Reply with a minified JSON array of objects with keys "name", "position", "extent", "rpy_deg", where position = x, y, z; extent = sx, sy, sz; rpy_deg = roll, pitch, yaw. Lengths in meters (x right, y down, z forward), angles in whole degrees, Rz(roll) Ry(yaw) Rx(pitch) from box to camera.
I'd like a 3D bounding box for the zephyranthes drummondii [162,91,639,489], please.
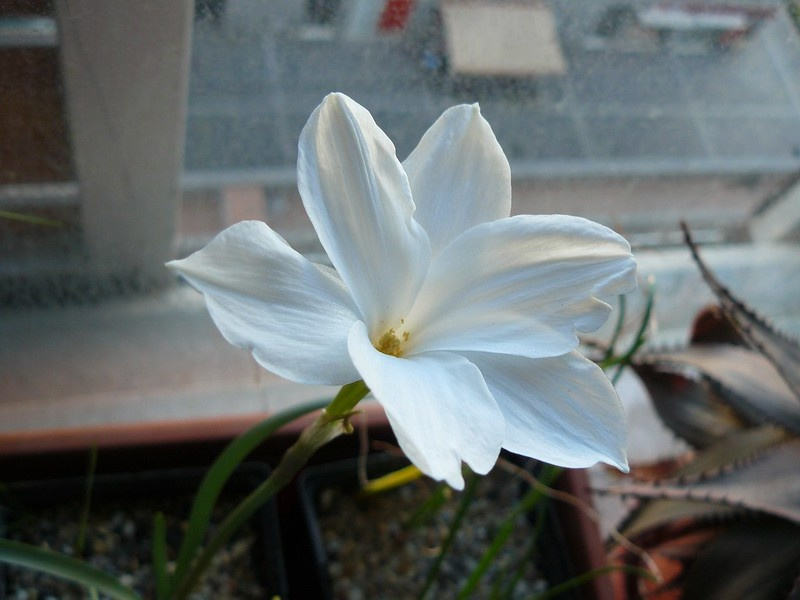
[{"name":"zephyranthes drummondii","position":[-0.017,0.004,0.574],"extent":[0.278,0.139,0.310],"rpy_deg":[-7,71,-31]}]
